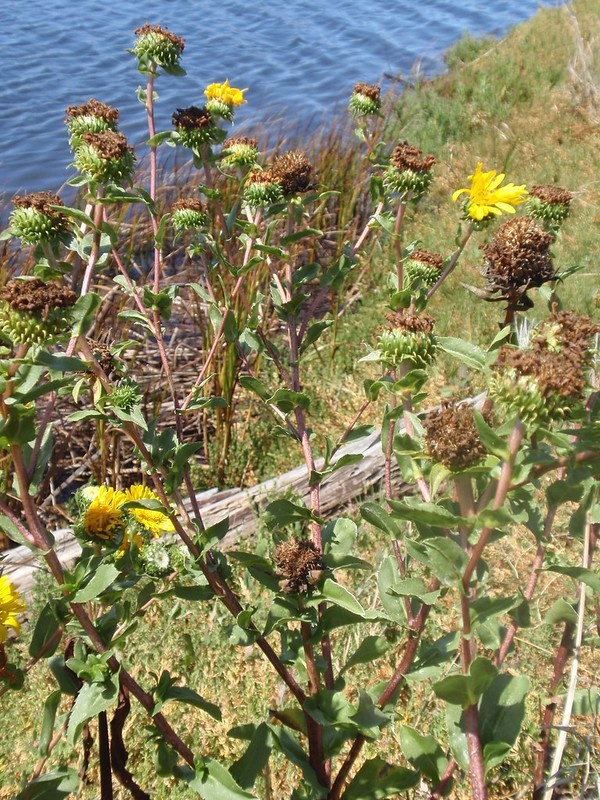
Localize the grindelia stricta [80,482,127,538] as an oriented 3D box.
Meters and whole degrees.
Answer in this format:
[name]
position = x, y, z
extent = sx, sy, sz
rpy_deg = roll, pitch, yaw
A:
[grindelia stricta]
position = -0.543, 0.320, 2.709
extent = 0.151, 0.060, 0.132
rpy_deg = -7, 50, 3
